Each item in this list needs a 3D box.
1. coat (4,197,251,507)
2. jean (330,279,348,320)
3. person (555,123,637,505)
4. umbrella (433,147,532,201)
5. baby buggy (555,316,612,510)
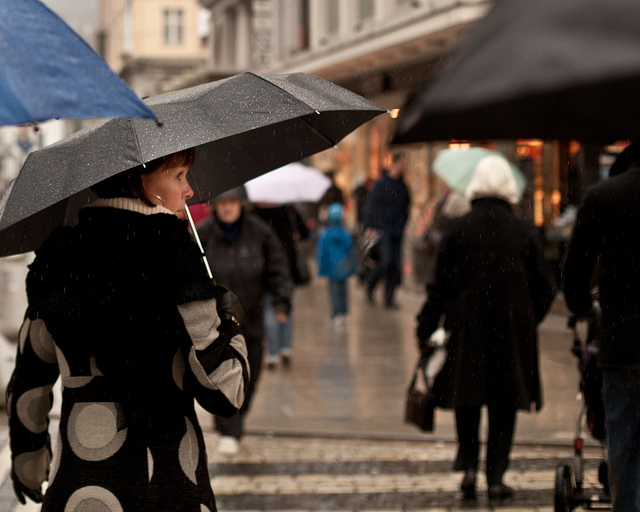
[{"bbox_3d":[-0.661,0.350,4.502,0.798,1.112,0.262,-1,3,-5],"label":"coat"},{"bbox_3d":[0.228,0.558,15.516,0.193,0.537,0.503,-1,3,-1],"label":"jean"},{"bbox_3d":[1.288,0.288,5.600,0.265,1.568,0.601,-2,3,-14],"label":"person"},{"bbox_3d":[1.520,-0.769,11.628,0.801,0.303,0.858,27,15,1],"label":"umbrella"},{"bbox_3d":[1.355,0.788,6.275,0.335,1.042,0.368,5,10,14],"label":"baby buggy"}]
